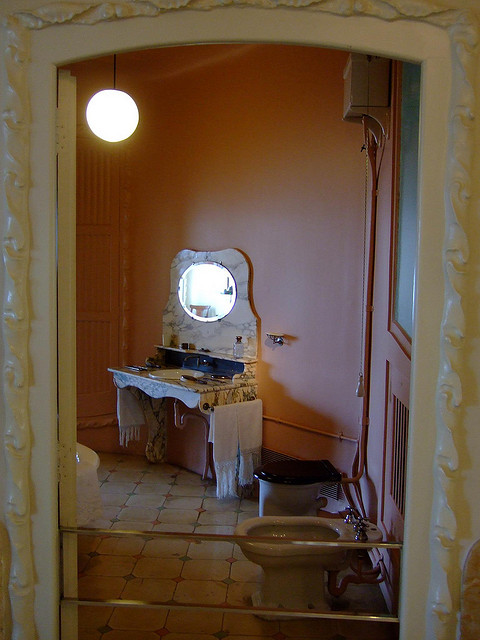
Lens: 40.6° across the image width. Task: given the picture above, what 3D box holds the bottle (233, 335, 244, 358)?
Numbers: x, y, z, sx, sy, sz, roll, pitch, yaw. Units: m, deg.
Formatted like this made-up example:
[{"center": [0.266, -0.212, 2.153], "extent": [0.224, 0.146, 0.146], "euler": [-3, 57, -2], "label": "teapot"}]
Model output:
[{"center": [0.001, 0.168, 3.993], "extent": [0.050, 0.130, 0.058], "euler": [-2, 5, -27], "label": "bottle"}]

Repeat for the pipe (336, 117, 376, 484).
[{"center": [0.550, -0.058, 3.022], "extent": [0.129, 1.685, 0.257], "euler": [2, 5, 11], "label": "pipe"}]

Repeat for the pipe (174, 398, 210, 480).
[{"center": [-0.317, 0.788, 4.339], "extent": [0.226, 0.517, 0.457], "euler": [0, 5, -4], "label": "pipe"}]

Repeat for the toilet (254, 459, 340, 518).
[{"center": [0.266, 0.877, 3.168], "extent": [0.394, 0.383, 0.268], "euler": [6, 8, -1], "label": "toilet"}]

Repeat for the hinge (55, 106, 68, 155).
[{"center": [-0.491, -0.523, 1.791], "extent": [0.030, 0.121, 0.015], "euler": [0, 5, -11], "label": "hinge"}]

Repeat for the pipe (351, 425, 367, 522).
[{"center": [0.568, 0.766, 3.140], "extent": [0.050, 0.345, 0.036], "euler": [4, 8, 23], "label": "pipe"}]

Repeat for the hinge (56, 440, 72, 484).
[{"center": [-0.500, 0.400, 1.863], "extent": [0.039, 0.140, 0.034], "euler": [0, 22, -18], "label": "hinge"}]

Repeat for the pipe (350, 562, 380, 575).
[{"center": [0.520, 1.042, 2.688], "extent": [0.096, 0.021, 0.096], "euler": [0, -1, 10], "label": "pipe"}]

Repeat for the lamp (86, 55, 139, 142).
[{"center": [-0.608, -0.981, 3.107], "extent": [0.234, 0.212, 0.181], "euler": [0, 5, -12], "label": "lamp"}]

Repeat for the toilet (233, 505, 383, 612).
[{"center": [0.272, 0.995, 2.703], "extent": [0.597, 0.387, 0.340], "euler": [1, 0, -2], "label": "toilet"}]
